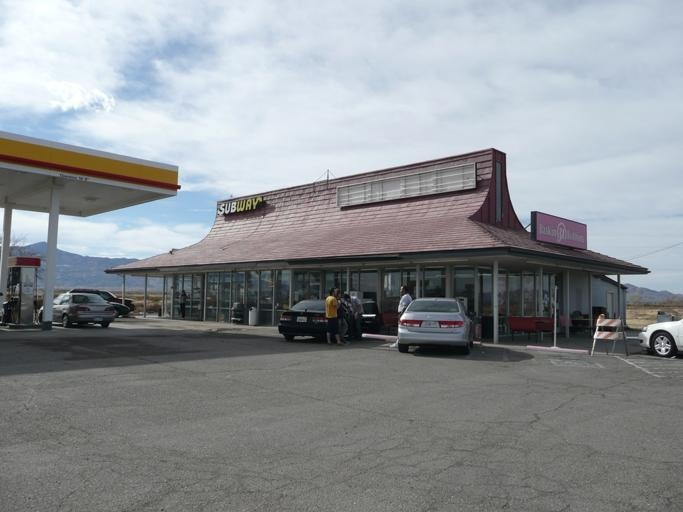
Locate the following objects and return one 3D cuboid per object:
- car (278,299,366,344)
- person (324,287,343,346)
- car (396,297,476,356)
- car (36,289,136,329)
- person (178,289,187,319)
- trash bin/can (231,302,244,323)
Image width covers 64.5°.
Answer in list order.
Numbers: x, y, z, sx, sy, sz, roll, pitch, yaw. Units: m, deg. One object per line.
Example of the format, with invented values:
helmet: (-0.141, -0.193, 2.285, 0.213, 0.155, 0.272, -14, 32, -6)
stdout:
car: (-0.528, 2.338, 19.967, 1.597, 0.796, 2.898, -3, -5, 33)
person: (-0.251, 2.055, 18.578, 0.565, 1.883, 1.212, 0, -7, -2)
car: (2.756, 2.070, 16.153, 2.086, 1.677, 1.275, -1, -7, 6)
car: (-11.912, 2.456, 24.983, 2.831, 1.589, 1.336, -5, -9, 33)
person: (-10.024, 3.006, 34.422, 0.377, 1.863, 0.732, 4, -8, -25)
trash bin/can: (-5.605, 3.098, 29.637, 0.691, 1.167, 0.495, 1, -8, -9)
